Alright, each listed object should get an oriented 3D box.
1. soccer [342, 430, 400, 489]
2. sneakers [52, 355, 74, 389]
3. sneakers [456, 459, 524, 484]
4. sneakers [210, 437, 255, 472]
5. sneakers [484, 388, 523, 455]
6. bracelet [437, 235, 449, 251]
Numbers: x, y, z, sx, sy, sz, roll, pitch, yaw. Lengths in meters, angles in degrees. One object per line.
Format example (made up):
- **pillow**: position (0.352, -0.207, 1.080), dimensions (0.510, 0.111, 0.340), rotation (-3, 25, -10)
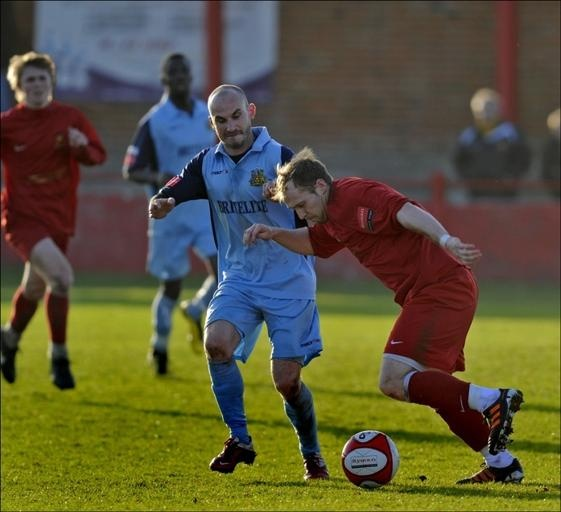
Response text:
- **soccer**: position (0.503, 1.120, 5.922), dimensions (0.337, 0.328, 0.319), rotation (-15, -23, 12)
- **sneakers**: position (-1.292, 0.684, 6.332), dimensions (0.123, 0.199, 0.080), rotation (-14, -23, -6)
- **sneakers**: position (1.163, 1.168, 5.917), dimensions (0.385, 0.151, 0.138), rotation (0, -9, 1)
- **sneakers**: position (-0.273, 1.087, 6.034), dimensions (0.316, 0.184, 0.111), rotation (-11, 19, -39)
- **sneakers**: position (1.156, 0.827, 5.531), dimensions (0.200, 0.399, 0.137), rotation (-2, 11, 6)
- **bracelet**: position (0.826, -0.073, 5.467), dimensions (0.049, 0.078, 0.108), rotation (0, 6, -2)
